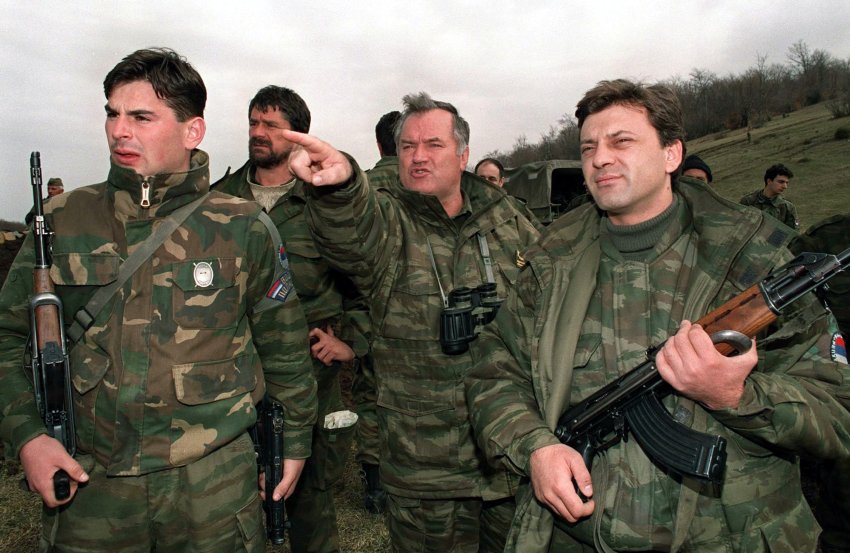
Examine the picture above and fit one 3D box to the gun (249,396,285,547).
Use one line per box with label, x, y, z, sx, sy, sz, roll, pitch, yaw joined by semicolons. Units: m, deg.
gun;-0.975;1.237;4.101;0.234;0.907;0.238;3;2;-9
